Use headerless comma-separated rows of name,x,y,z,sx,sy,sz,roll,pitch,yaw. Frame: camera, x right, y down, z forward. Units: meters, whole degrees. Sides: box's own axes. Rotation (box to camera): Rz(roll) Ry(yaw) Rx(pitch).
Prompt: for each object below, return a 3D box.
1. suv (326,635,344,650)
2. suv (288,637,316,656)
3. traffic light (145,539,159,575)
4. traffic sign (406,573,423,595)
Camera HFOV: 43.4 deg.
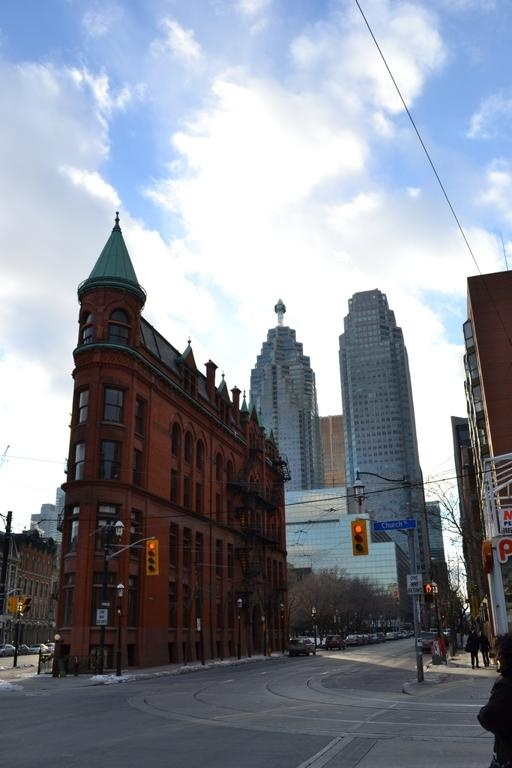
suv,9.091,29.395,73.193,1.314,1.216,2.346,-5,-14,14
suv,4.588,25.698,62.964,1.468,1.267,2.948,-4,-18,15
traffic light,-5.244,8.641,32.386,0.507,1.687,1.092,1,-21,-15
traffic sign,6.016,7.614,24.451,0.553,0.750,1.566,-8,-21,10
